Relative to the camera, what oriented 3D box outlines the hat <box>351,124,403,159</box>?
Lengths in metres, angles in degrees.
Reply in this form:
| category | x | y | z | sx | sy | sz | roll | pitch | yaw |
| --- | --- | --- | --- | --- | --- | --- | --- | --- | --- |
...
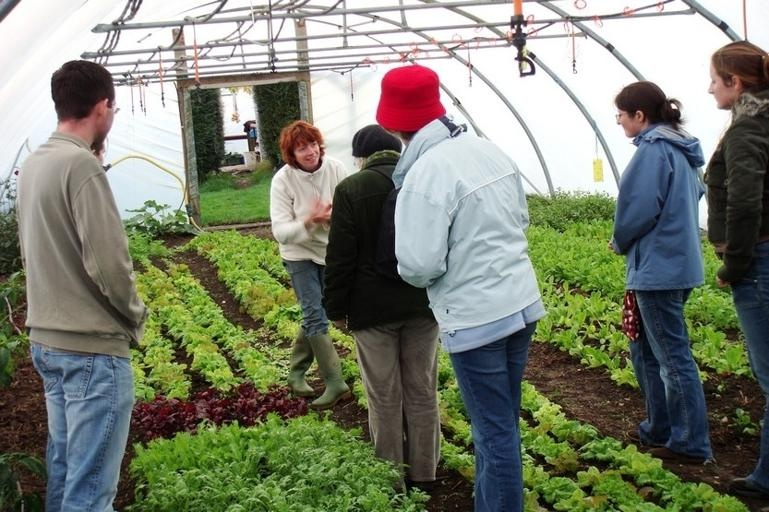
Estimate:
| category | x | y | z | sx | sy | sz | roll | pitch | yaw |
| --- | --- | --- | --- | --- | --- | --- | --- | --- | --- |
| hat | -0.069 | -1.012 | 5.284 | 0.385 | 0.212 | 0.267 | 4 | 10 | 6 |

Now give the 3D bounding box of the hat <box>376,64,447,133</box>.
| category | x | y | z | sx | sy | sz | roll | pitch | yaw |
| --- | --- | --- | --- | --- | --- | --- | --- | --- | --- |
| hat | 0.199 | -1.273 | 4.644 | 0.567 | 0.357 | 0.734 | 20 | 37 | 22 |

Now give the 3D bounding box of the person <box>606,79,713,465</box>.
| category | x | y | z | sx | sy | sz | roll | pitch | yaw |
| --- | --- | --- | --- | --- | --- | --- | --- | --- | --- |
| person | 2.424 | 0.122 | 5.370 | 0.760 | 3.410 | 0.449 | -2 | 4 | 26 |
